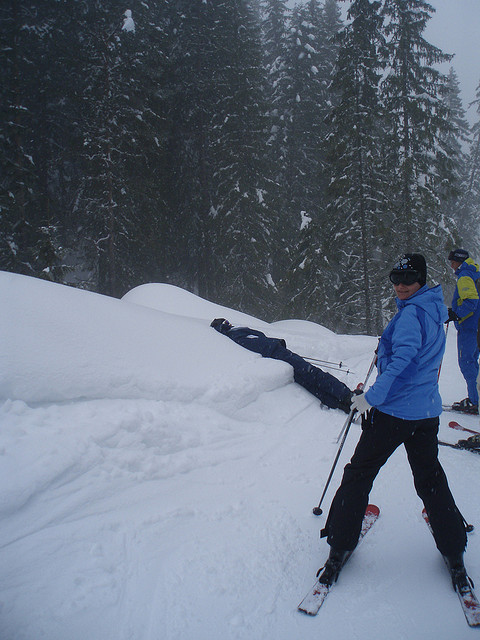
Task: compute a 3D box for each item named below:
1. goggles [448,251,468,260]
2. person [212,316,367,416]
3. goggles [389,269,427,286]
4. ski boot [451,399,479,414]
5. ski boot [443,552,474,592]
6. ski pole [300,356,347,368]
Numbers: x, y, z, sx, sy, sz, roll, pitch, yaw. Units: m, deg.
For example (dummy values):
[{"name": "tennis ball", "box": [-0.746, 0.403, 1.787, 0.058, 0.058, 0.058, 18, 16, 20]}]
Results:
[{"name": "goggles", "box": [2.518, -0.744, 6.085, 0.112, 0.105, 0.164, 9, 16, -22]}, {"name": "person", "box": [0.774, 0.621, 6.620, 0.463, 1.107, 1.424, 18, 10, -45]}, {"name": "goggles", "box": [1.088, -0.270, 3.408, 0.224, 0.079, 0.108, 7, 4, 18]}, {"name": "ski boot", "box": [2.631, 0.991, 6.117, 0.097, 0.146, 0.291, 16, -3, -33]}, {"name": "ski boot", "box": [1.358, 1.510, 3.261, 0.087, 0.335, 0.123, -13, -28, 18]}, {"name": "ski pole", "box": [1.160, 0.588, 7.433, 0.597, 0.084, 0.093, 14, -30, -8]}]
